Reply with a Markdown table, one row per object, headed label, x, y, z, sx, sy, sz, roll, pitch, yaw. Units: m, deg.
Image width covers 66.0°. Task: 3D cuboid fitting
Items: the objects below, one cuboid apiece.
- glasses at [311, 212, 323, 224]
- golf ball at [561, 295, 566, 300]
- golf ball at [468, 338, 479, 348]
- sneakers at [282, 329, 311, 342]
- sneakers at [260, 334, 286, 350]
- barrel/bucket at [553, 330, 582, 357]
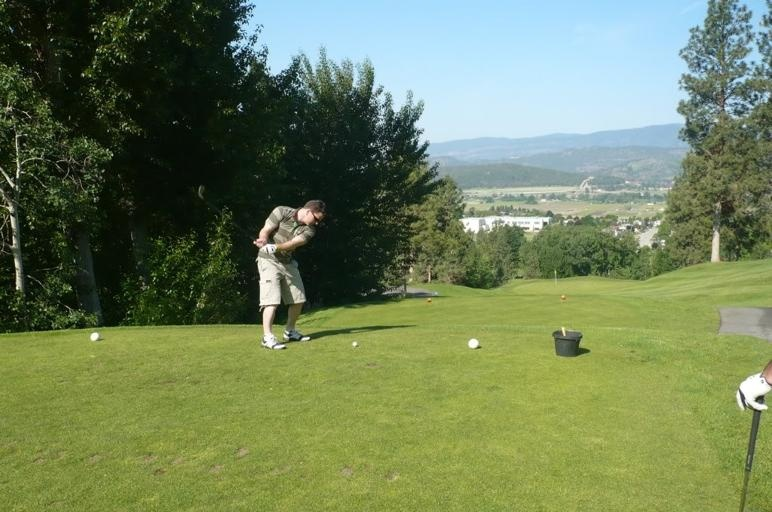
| label | x | y | z | sx | sy | sz | roll | pitch | yaw |
| --- | --- | --- | --- | --- | --- | --- | --- | --- | --- |
| glasses | -1.341 | -0.765 | 11.710 | 0.175 | 0.194 | 0.228 | 12 | 7 | -29 |
| golf ball | 6.412 | 1.519 | 21.781 | 0.164 | 0.147 | 0.168 | -2 | -4 | 0 |
| golf ball | 1.753 | 1.777 | 12.127 | 0.166 | 0.093 | 0.164 | 0 | 7 | 0 |
| sneakers | -1.839 | 1.670 | 12.420 | 0.623 | 0.283 | 0.226 | 2 | 0 | -13 |
| sneakers | -2.276 | 1.706 | 11.784 | 0.558 | 0.260 | 0.222 | 3 | 1 | 12 |
| barrel/bucket | 3.509 | 1.729 | 11.722 | 0.498 | 0.395 | 0.548 | -1 | -8 | 14 |
